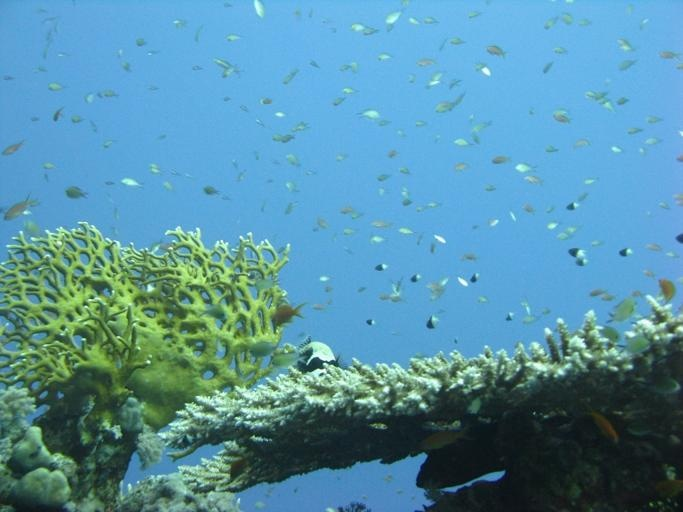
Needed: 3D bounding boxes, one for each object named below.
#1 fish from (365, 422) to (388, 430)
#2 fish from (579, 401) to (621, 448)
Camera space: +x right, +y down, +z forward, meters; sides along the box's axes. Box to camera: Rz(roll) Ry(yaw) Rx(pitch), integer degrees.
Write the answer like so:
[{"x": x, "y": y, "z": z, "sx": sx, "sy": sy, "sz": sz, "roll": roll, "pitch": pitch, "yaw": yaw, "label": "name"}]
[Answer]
[{"x": 0.460, "y": 2.165, "z": 9.589, "sx": 0.241, "sy": 0.094, "sz": 0.180, "roll": -9, "pitch": -25, "yaw": -6, "label": "fish"}, {"x": 3.228, "y": 2.031, "z": 9.209, "sx": 0.400, "sy": 0.511, "sz": 0.224, "roll": 10, "pitch": -33, "yaw": -40, "label": "fish"}]
